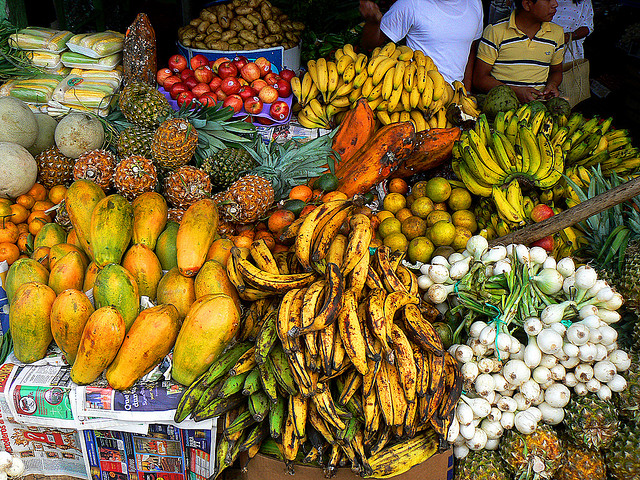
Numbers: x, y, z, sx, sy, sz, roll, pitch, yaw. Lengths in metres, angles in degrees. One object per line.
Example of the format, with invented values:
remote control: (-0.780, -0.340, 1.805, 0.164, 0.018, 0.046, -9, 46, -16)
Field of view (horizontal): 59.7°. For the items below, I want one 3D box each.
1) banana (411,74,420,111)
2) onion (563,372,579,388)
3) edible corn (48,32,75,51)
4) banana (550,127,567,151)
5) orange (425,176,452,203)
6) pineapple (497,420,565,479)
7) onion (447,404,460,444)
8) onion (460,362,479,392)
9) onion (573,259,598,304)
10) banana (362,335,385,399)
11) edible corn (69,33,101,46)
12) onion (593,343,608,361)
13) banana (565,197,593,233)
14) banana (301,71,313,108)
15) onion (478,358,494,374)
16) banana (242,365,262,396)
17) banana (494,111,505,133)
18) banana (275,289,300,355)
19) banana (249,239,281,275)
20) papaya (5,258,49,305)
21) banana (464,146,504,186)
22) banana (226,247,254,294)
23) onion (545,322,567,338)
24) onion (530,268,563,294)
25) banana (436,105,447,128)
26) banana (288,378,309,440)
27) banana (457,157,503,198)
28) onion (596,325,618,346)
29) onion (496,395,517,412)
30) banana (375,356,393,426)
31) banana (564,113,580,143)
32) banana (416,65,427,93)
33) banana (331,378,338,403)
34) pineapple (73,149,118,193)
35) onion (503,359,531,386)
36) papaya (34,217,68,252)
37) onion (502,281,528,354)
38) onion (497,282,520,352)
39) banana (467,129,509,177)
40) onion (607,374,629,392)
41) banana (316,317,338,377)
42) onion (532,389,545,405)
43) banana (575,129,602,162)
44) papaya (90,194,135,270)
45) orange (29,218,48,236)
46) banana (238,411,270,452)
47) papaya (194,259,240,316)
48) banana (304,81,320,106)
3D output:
banana: (0.900, -1.380, 5.202, 0.056, 0.310, 0.075, 8, 8, 39)
onion: (1.739, 0.966, 3.846, 0.087, 0.075, 0.073, -18, 18, -9)
edible corn: (-2.521, -1.941, 5.454, 0.105, 0.077, 0.234, 26, 42, 1)
banana: (2.079, -0.876, 4.824, 0.076, 0.089, 0.249, 26, 62, 20)
orange: (0.982, -0.424, 4.660, 0.184, 0.209, 0.238, -15, 29, -2)
pineapple: (1.449, 1.442, 3.933, 0.333, 0.428, 0.412, -5, 32, -2)
onion: (0.902, 1.233, 3.743, 0.125, 0.238, 0.049, 6, -8, -41)
onion: (1.024, 0.926, 3.792, 0.085, 0.185, 0.083, 1, -2, -22)
onion: (1.846, 0.282, 3.918, 0.115, 0.285, 0.116, 21, 0, -27)
banana: (0.368, 0.820, 3.574, 0.093, 0.462, 0.143, 15, -10, -21)
edible corn: (-2.329, -1.973, 5.432, 0.116, 0.049, 0.205, 20, 42, 23)
onion: (1.927, 0.764, 3.797, 0.092, 0.113, 0.061, -15, 9, -17)
banana: (2.134, -0.233, 4.620, 0.121, 0.152, 0.408, -2, 37, -11)
banana: (-0.116, -1.456, 5.402, 0.067, 0.367, 0.090, 4, -9, 12)
onion: (1.145, 0.863, 3.811, 0.108, 0.077, 0.071, -6, 36, -17)
banana: (-0.429, 0.911, 3.565, 0.068, 0.078, 0.236, 15, 55, -3)
banana: (1.563, -1.031, 4.828, 0.059, 0.075, 0.233, -11, 58, 34)
banana: (-0.213, 0.522, 3.613, 0.125, 0.091, 0.401, 17, 59, -15)
banana: (-0.385, 0.121, 3.950, 0.098, 0.122, 0.335, -15, 62, -45)
papaya: (-2.027, 0.217, 3.882, 0.243, 0.341, 0.257, -3, 40, -39)
banana: (1.348, -0.604, 4.534, 0.117, 0.348, 0.077, -37, 10, -21)
banana: (-0.533, 0.209, 3.893, 0.177, 0.309, 0.076, 6, 11, 40)
onion: (1.623, 0.608, 3.807, 0.104, 0.072, 0.084, -5, 19, 39)
onion: (1.647, 0.296, 4.031, 0.238, 0.183, 0.196, -6, 60, 38)
banana: (1.205, -1.203, 5.472, 0.063, 0.268, 0.084, -2, -6, -1)
banana: (-0.142, 1.069, 3.574, 0.120, 0.384, 0.099, 4, -17, -45)
banana: (1.390, -0.490, 4.641, 0.165, 0.101, 0.499, -17, 33, 52)
onion: (1.971, 0.643, 3.855, 0.081, 0.114, 0.137, -6, 33, -40)
onion: (1.291, 1.123, 3.813, 0.133, 0.083, 0.095, 24, 39, 23)
banana: (0.401, 0.965, 3.518, 0.120, 0.392, 0.071, 7, -18, -40)
banana: (2.269, -1.000, 4.990, 0.086, 0.108, 0.336, -1, 53, 53)
banana: (0.952, -1.524, 5.223, 0.078, 0.078, 0.280, 18, 55, -24)
banana: (0.100, 0.996, 3.690, 0.048, 0.032, 0.152, 13, 58, -38)
pineapple: (-1.792, -0.566, 4.569, 0.313, 0.338, 0.331, 28, 4, 1)
onion: (1.348, 0.903, 3.804, 0.170, 0.144, 0.113, 7, 34, 1)
papaya: (-2.019, -0.032, 4.233, 0.178, 0.170, 0.234, 44, 53, -2)
onion: (1.298, 0.524, 3.790, 0.128, 0.547, 0.157, -26, 25, -9)
onion: (1.321, 0.541, 3.920, 0.109, 0.130, 0.448, 24, 65, -5)
banana: (1.376, -0.700, 4.562, 0.398, 0.087, 0.130, 58, 33, 3)
onion: (2.049, 0.988, 3.820, 0.106, 0.104, 0.066, -2, 5, 3)
banana: (0.043, 0.662, 3.475, 0.078, 0.119, 0.369, 4, 70, -4)
onion: (1.516, 1.096, 3.855, 0.051, 0.090, 0.095, 26, 57, -22)
banana: (2.372, -0.828, 4.910, 0.065, 0.267, 0.087, 28, 8, -8)
papaya: (-1.406, -0.032, 3.955, 0.273, 0.302, 0.559, -7, 56, 9)
orange: (-2.272, -0.113, 4.489, 0.141, 0.102, 0.149, -7, 38, -18)
banana: (-0.432, 1.231, 3.611, 0.102, 0.092, 0.311, -1, 52, 58)
papaya: (-0.707, 0.287, 3.926, 0.220, 0.245, 0.406, -28, 72, 4)
banana: (-0.065, -1.418, 5.417, 0.068, 0.270, 0.097, 23, 6, -15)
